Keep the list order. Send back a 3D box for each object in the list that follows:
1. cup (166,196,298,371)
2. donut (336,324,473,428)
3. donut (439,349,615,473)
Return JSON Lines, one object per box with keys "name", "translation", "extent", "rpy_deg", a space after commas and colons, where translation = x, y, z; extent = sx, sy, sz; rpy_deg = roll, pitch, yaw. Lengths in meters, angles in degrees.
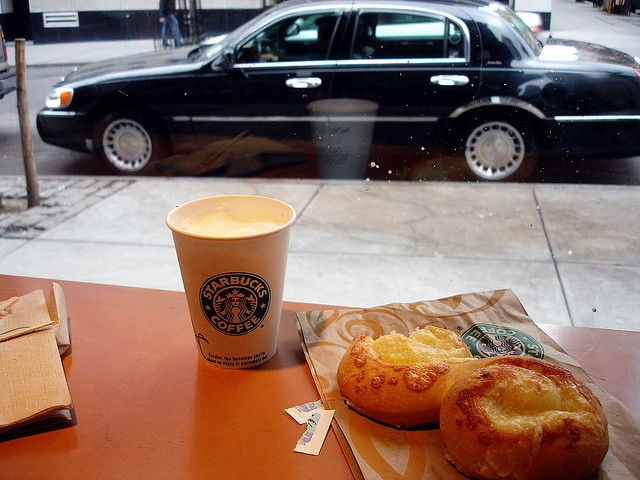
{"name": "cup", "translation": [-0.131, 0.075, 0.704], "extent": [0.168, 0.191, 0.161], "rpy_deg": [-3, 8, 1]}
{"name": "donut", "translation": [0.105, 0.155, 0.610], "extent": [0.132, 0.046, 0.111], "rpy_deg": [-19, 32, -12]}
{"name": "donut", "translation": [0.226, 0.200, 0.551], "extent": [0.178, 0.095, 0.118], "rpy_deg": [5, 24, 6]}
